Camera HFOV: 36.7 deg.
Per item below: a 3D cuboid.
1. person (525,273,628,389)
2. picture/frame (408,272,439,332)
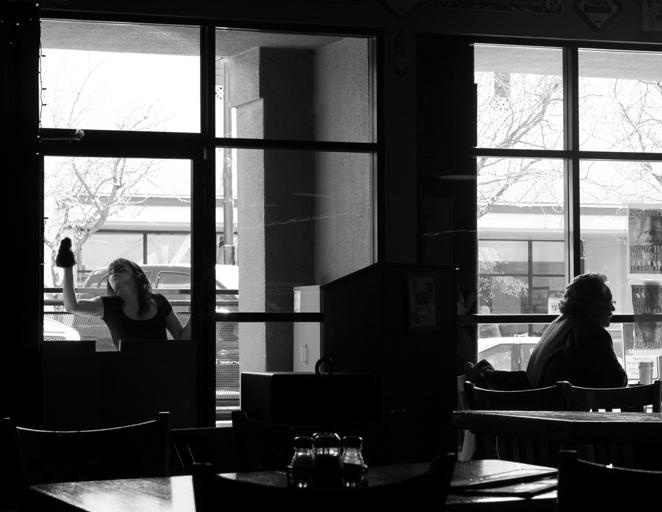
[{"bbox_3d":[1.530,0.490,6.101,0.551,0.779,0.811,4,5,-3],"label":"person"},{"bbox_3d":[0.492,0.249,5.347,0.246,0.307,0.024,4,-6,-43],"label":"picture/frame"}]
